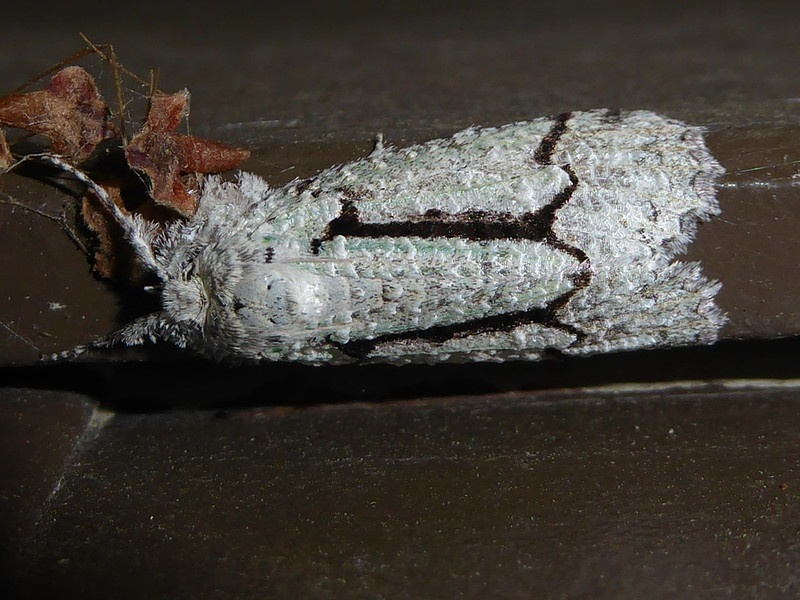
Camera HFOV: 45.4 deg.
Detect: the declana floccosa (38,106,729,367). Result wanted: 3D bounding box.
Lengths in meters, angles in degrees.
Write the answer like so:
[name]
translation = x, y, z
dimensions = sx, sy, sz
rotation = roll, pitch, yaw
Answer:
[declana floccosa]
translation = 0.055, -0.146, 2.505
dimensions = 1.596, 0.613, 0.502
rotation = -3, 43, 3
